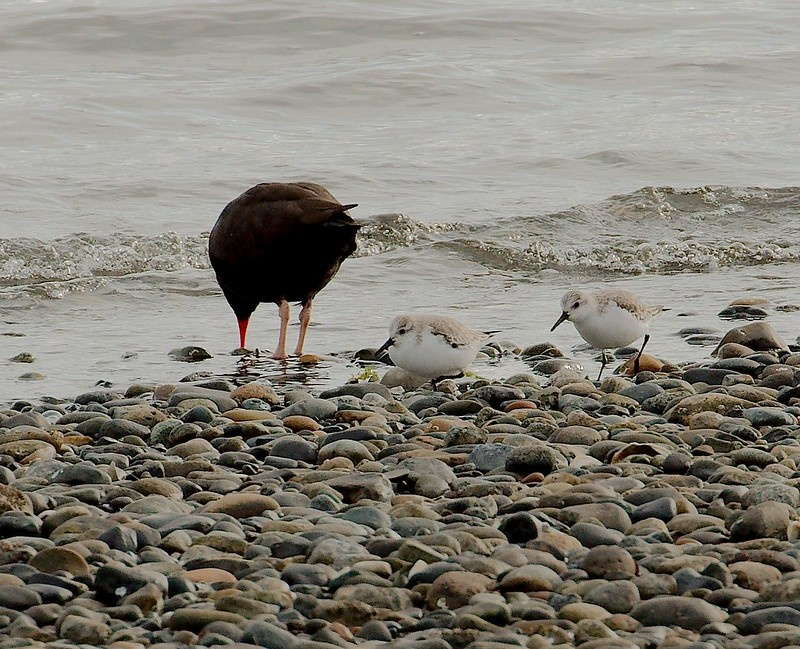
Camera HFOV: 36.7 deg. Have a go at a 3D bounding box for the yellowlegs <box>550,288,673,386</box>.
[{"bbox_3d":[1.850,0.069,11.023,0.796,0.780,0.733,4,10,8],"label":"yellowlegs"}]

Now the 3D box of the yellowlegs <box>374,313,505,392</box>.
[{"bbox_3d":[0.496,0.196,10.247,1.763,0.502,0.841,-6,10,-30],"label":"yellowlegs"}]

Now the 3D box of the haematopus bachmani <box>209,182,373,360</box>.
[{"bbox_3d":[-1.136,-0.519,12.005,1.198,1.794,1.685,0,10,-18],"label":"haematopus bachmani"}]
